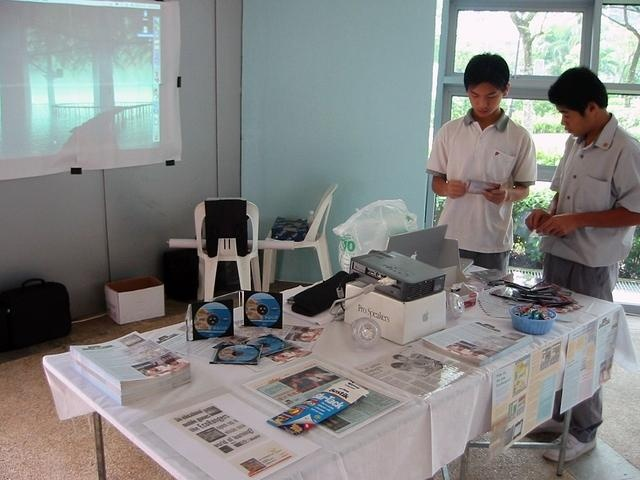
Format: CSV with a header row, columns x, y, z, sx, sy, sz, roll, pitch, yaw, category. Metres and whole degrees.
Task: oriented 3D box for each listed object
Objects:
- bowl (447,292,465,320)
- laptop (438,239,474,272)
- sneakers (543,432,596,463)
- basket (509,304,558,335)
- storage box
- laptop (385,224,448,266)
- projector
x,y,z,sx,sy,sz,roll,pitch,yaw,category
0.595,0.291,2.017,0.046,0.081,0.081,-18,-39,33,bowl
0.707,0.077,2.365,0.156,0.148,0.211,-1,15,-8,laptop
1.363,1.125,2.543,0.335,0.127,0.116,-3,14,-27,sneakers
0.904,0.333,1.934,0.166,0.059,0.158,-5,14,-12,basket
-1.588,0.461,3.931,0.485,0.299,0.366,-9,22,-28,storage box
0.452,0.012,2.261,0.294,0.184,0.205,-6,31,-35,laptop
0.300,0.122,1.898,0.209,0.080,0.276,-15,29,-37,projector
